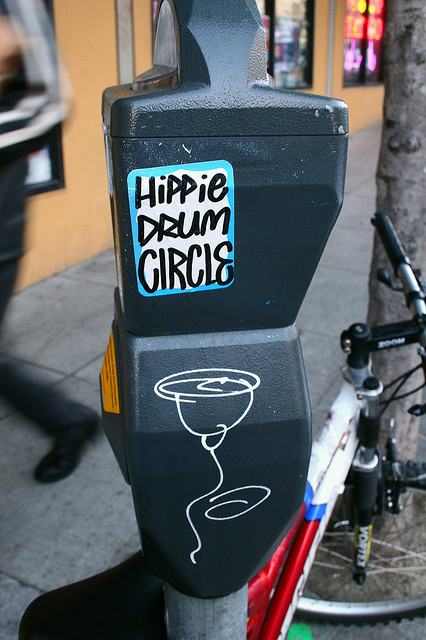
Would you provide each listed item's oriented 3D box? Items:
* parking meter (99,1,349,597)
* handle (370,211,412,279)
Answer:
[{"bbox_3d":[0.023,0.048,0.860,0.351,1.008,0.219,-6,10,-14],"label":"parking meter"},{"bbox_3d":[0.581,-0.281,1.740,0.078,0.092,0.370,11,49,-11],"label":"handle"}]
